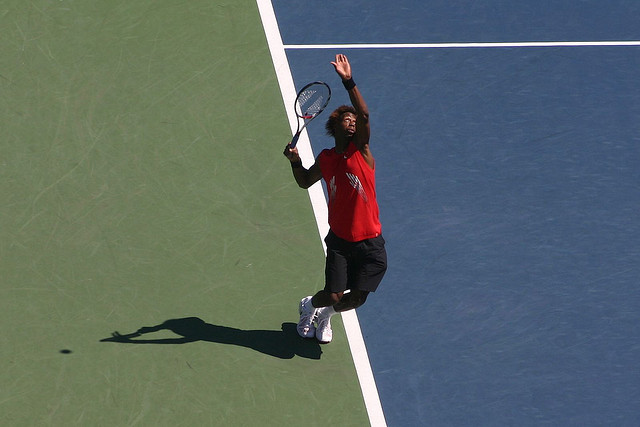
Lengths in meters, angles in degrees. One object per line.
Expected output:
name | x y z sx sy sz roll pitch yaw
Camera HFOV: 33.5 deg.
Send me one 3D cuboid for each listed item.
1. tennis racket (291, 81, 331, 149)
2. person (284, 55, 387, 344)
tennis racket | -0.154 -1.265 12.865 0.057 0.417 0.990 38 72 -23
person | 0.130 -0.083 12.019 1.229 1.213 3.295 11 98 47
